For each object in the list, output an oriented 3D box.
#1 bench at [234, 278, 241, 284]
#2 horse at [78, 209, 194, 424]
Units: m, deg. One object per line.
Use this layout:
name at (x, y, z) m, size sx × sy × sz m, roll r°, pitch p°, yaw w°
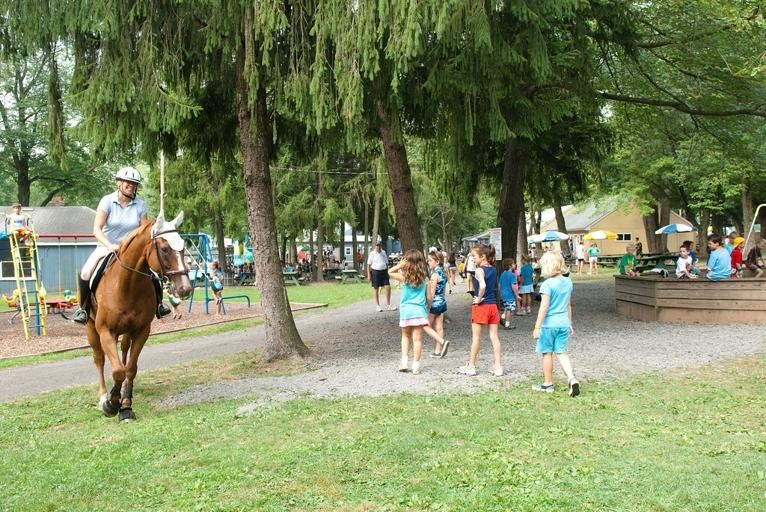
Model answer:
bench at (-8.915, 1.493, 41.035) m, size 0.375 × 0.377 × 0.091 m, roll 12°, pitch 5°, yaw 38°
horse at (-4.751, 1.257, 12.182) m, size 1.191 × 3.482 × 4.103 m, roll 3°, pitch -9°, yaw -35°
